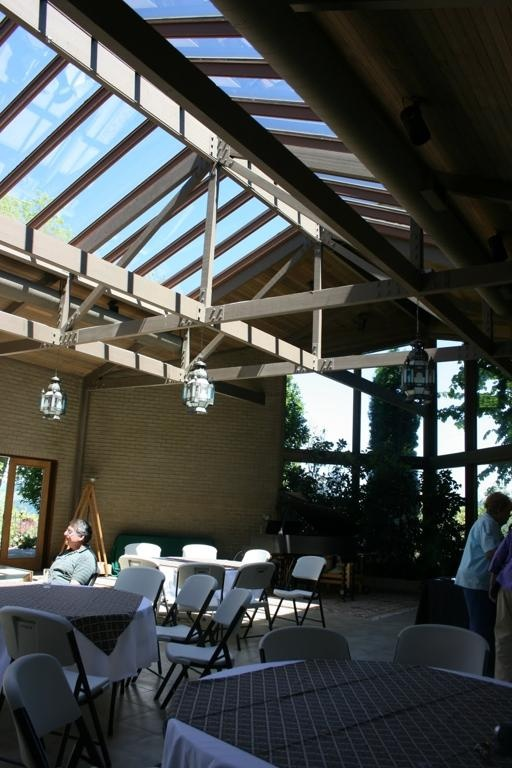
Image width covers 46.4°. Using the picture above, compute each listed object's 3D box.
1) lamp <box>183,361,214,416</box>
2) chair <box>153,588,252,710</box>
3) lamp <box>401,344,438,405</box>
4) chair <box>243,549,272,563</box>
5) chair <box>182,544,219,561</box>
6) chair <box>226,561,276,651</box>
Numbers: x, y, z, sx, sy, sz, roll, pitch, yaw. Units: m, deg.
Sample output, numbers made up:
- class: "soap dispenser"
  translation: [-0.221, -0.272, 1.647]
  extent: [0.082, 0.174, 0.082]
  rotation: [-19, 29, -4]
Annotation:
- class: "lamp"
  translation: [-0.590, 0.029, 6.262]
  extent: [0.353, 0.536, 0.356]
  rotation: [0, -7, 26]
- class: "chair"
  translation: [-0.338, 1.646, 3.738]
  extent: [0.539, 0.671, 0.461]
  rotation: [11, -10, -33]
- class: "lamp"
  translation: [1.580, -0.124, 5.811]
  extent: [0.319, 0.609, 0.428]
  rotation: [-2, -15, 15]
- class: "chair"
  translation: [0.005, 2.251, 7.868]
  extent: [0.425, 0.224, 0.536]
  rotation: [0, -19, -3]
- class: "chair"
  translation: [-0.791, 2.380, 8.275]
  extent: [0.399, 0.281, 0.388]
  rotation: [2, -5, -2]
- class: "chair"
  translation: [-0.100, 2.121, 5.832]
  extent: [0.515, 0.715, 0.426]
  rotation: [-13, -21, 41]
